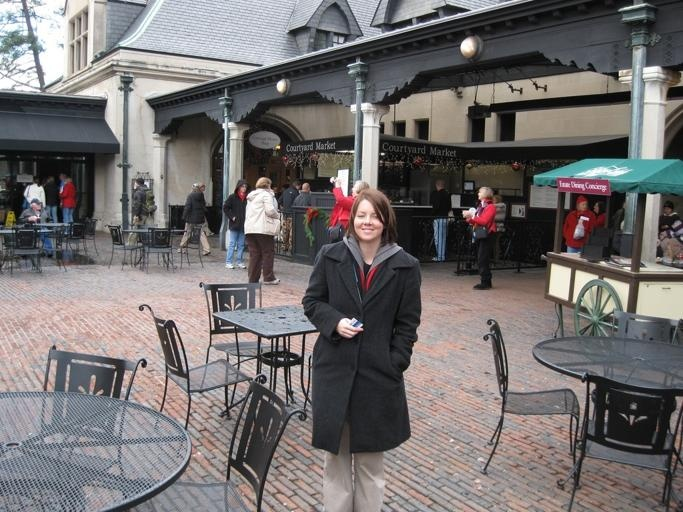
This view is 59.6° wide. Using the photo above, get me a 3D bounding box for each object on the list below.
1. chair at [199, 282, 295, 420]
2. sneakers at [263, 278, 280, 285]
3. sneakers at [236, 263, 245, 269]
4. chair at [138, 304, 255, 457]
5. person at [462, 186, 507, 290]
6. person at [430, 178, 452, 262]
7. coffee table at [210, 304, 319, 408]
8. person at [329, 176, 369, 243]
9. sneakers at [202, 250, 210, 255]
[{"bbox_3d":[-1.080,0.908,6.429,0.765,1.193,0.807,-2,-13,10],"label":"chair"},{"bbox_3d":[-1.401,0.516,11.942,0.102,0.136,0.308,6,6,28],"label":"sneakers"},{"bbox_3d":[-2.435,0.247,14.396,0.096,0.106,0.260,0,-2,-34],"label":"sneakers"},{"bbox_3d":[-1.296,1.012,5.337,0.908,1.233,0.742,-4,10,-33],"label":"chair"},{"bbox_3d":[2.904,-0.393,12.392,0.629,2.043,1.523,1,6,15],"label":"person"},{"bbox_3d":[2.673,-0.932,16.092,0.458,2.130,1.197,1,6,9],"label":"person"},{"bbox_3d":[-0.563,0.682,5.496,0.915,0.923,0.922,-5,10,-36],"label":"coffee table"},{"bbox_3d":[-0.009,-0.720,11.432,0.620,1.545,0.555,16,24,0],"label":"person"},{"bbox_3d":[-3.757,-0.085,16.497,0.121,0.141,0.157,3,4,16],"label":"sneakers"}]
